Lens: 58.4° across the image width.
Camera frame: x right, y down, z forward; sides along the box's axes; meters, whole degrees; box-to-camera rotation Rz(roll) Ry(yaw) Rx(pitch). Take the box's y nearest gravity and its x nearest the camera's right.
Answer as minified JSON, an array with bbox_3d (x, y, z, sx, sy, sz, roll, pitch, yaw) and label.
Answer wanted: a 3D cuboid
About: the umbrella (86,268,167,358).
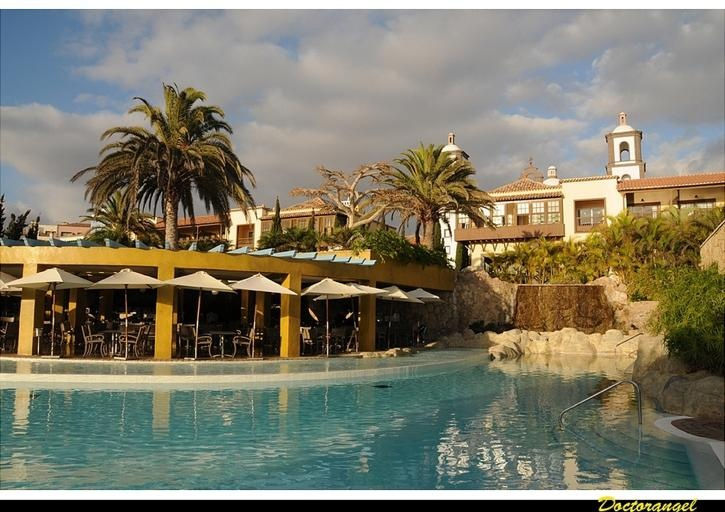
[{"bbox_3d":[-8.427,1.940,22.880,1.982,3.055,5.191,2,1,-24],"label":"umbrella"}]

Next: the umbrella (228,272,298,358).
[{"bbox_3d":[-3.507,1.858,22.470,2.908,2.575,2.786,3,-14,-10],"label":"umbrella"}]

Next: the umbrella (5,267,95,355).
[{"bbox_3d":[-10.369,1.598,21.693,3.011,2.782,2.852,-5,-13,15],"label":"umbrella"}]
